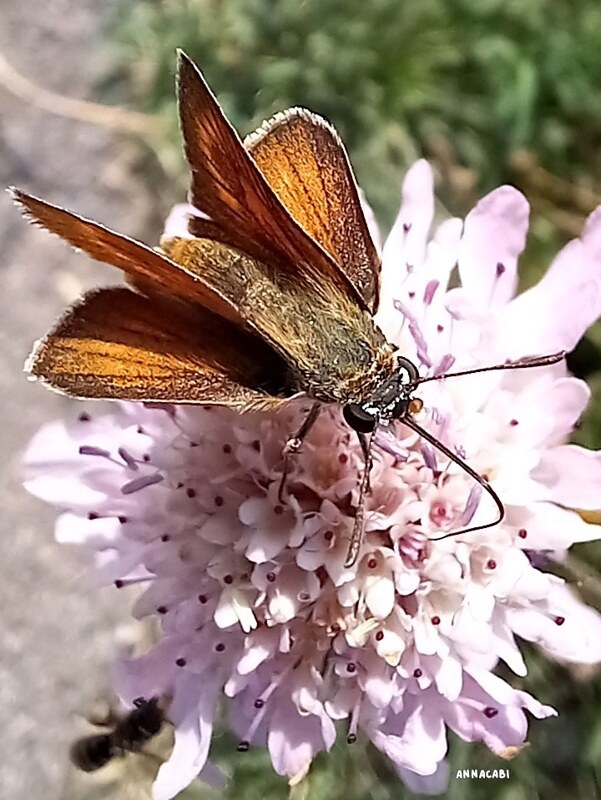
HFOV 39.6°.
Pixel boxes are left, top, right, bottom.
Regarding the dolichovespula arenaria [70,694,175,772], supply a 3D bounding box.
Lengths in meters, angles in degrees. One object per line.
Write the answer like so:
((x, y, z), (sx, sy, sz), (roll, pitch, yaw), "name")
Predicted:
((-0.222, 0.425, 1.060), (0.046, 0.135, 0.070), (54, 43, -13), "dolichovespula arenaria")
